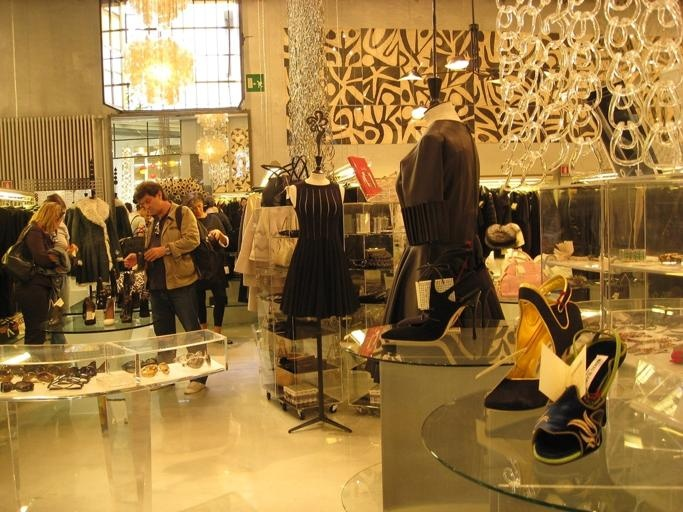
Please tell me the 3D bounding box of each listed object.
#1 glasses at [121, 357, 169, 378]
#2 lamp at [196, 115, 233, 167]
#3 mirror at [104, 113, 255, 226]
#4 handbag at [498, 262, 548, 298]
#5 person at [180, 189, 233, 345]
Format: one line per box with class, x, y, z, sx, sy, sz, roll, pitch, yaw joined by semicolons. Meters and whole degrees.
glasses;-0.991;0.564;2.858;0.046;0.107;0.246;6;8;41
lamp;-1.890;-1.706;8.111;0.570;0.718;0.314;6;7;37
mirror;-2.103;-1.183;7.616;1.577;1.317;0.059;-1;-2;6
handbag;1.873;0.170;5.782;0.473;0.525;0.321;4;3;14
person;-1.552;0.133;6.246;0.515;1.760;0.561;-1;20;-3
